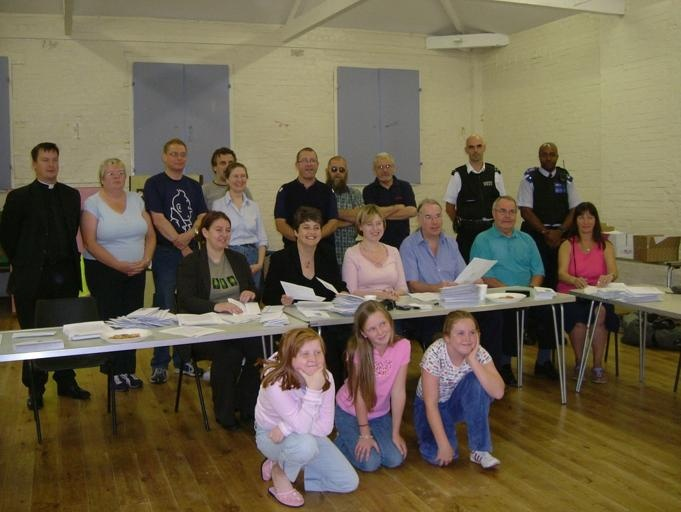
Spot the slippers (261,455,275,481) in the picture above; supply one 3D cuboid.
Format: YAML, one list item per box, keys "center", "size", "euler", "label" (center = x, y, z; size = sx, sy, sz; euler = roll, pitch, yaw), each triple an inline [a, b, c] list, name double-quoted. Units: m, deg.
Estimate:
- center: [-0.426, 1.247, 3.447]
  size: [0.091, 0.162, 0.060]
  euler: [-1, 11, -20]
  label: "slippers"

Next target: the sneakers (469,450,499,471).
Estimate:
- center: [0.859, 1.229, 3.534]
  size: [0.078, 0.068, 0.166]
  euler: [-7, -1, -39]
  label: "sneakers"

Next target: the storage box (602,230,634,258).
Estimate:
- center: [3.090, -0.119, 6.556]
  size: [0.178, 0.226, 0.315]
  euler: [-5, 9, -20]
  label: "storage box"

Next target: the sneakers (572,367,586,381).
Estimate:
- center: [2.021, 1.003, 5.052]
  size: [0.077, 0.078, 0.193]
  euler: [-1, -4, -8]
  label: "sneakers"

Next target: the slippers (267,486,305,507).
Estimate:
- center: [-0.317, 1.315, 3.234]
  size: [0.242, 0.082, 0.069]
  euler: [3, 10, 26]
  label: "slippers"

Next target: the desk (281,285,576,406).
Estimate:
- center: [0.602, 0.661, 4.651]
  size: [2.341, 0.773, 0.740]
  euler: [2, 3, -6]
  label: "desk"

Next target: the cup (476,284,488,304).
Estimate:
- center: [1.055, 0.284, 4.378]
  size: [0.133, 0.140, 0.112]
  euler: [-1, -12, 7]
  label: "cup"

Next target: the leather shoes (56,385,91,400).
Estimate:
- center: [-2.158, 1.107, 4.750]
  size: [0.312, 0.113, 0.110]
  euler: [3, 5, 1]
  label: "leather shoes"
